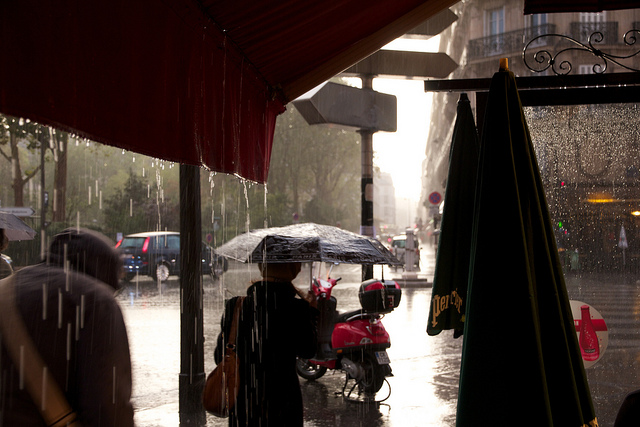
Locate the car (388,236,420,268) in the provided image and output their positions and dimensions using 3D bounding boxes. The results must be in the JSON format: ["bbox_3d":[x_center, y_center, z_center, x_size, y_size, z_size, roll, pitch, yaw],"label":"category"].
[{"bbox_3d":[3.194,1.561,37.246,1.252,1.291,2.349,1,6,12],"label":"car"}]

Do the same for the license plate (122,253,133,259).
[{"bbox_3d":[-5.560,1.189,27.747,0.230,0.162,0.571,1,-3,-34],"label":"license plate"}]

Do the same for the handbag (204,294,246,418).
[{"bbox_3d":[-0.852,1.397,9.471,0.159,1.173,0.360,12,-5,-43],"label":"handbag"}]

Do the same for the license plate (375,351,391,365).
[{"bbox_3d":[0.834,1.901,12.864,0.207,0.165,0.140,1,-2,-37],"label":"license plate"}]

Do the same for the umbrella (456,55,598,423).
[{"bbox_3d":[1.709,0.244,8.393,1.047,3.056,0.519,-1,-1,14],"label":"umbrella"}]

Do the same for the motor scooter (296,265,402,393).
[{"bbox_3d":[0.296,1.574,13.427,0.618,1.640,1.994,0,-1,-37],"label":"motor scooter"}]

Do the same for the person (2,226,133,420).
[{"bbox_3d":[-2.025,0.870,7.796,1.025,1.523,0.378,0,-1,-13],"label":"person"}]
